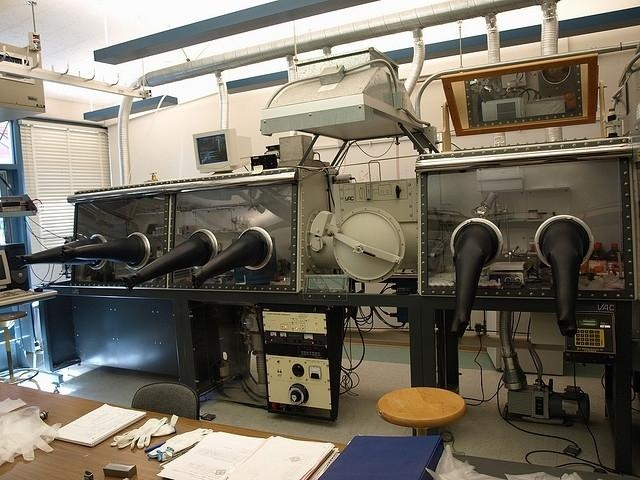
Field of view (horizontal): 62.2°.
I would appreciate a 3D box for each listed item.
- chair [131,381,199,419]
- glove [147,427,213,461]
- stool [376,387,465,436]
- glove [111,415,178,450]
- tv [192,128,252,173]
[{"bbox_3d":[-0.923,0.970,3.272,0.267,0.360,0.266,0,-4,9],"label":"chair"},{"bbox_3d":[-0.749,1.089,2.847,0.127,0.052,0.218,11,9,28],"label":"glove"},{"bbox_3d":[0.575,0.906,3.013,0.350,0.377,0.340,-3,5,-5],"label":"stool"},{"bbox_3d":[-0.961,1.030,2.941,0.146,0.058,0.239,2,11,37],"label":"glove"},{"bbox_3d":[-0.935,-0.837,5.139,0.454,0.336,0.449,0,7,29],"label":"tv"}]
